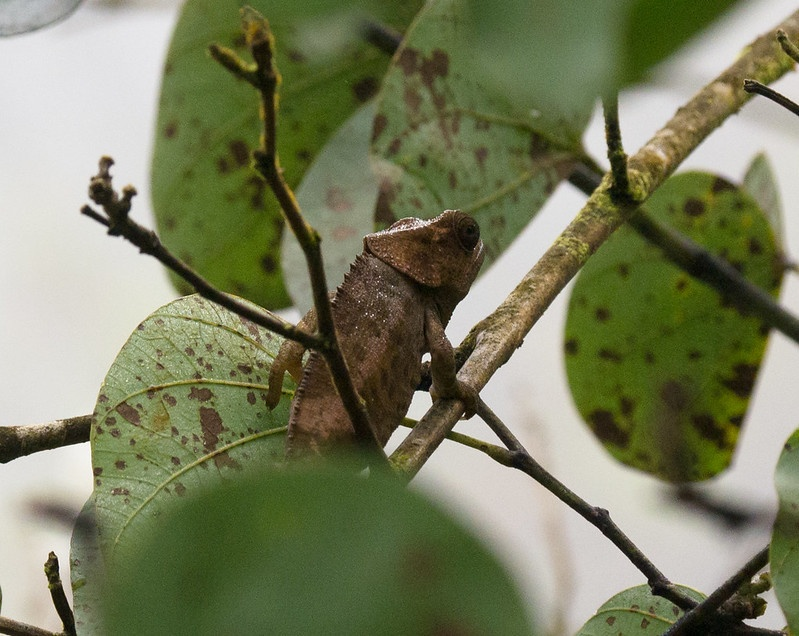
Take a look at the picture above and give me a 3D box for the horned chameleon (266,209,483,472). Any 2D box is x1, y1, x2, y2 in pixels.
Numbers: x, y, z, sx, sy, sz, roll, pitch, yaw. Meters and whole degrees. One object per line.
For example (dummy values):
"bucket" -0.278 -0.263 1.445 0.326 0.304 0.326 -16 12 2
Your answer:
"horned chameleon" -0.021 0.017 1.207 0.145 0.288 0.126 15 -39 43
